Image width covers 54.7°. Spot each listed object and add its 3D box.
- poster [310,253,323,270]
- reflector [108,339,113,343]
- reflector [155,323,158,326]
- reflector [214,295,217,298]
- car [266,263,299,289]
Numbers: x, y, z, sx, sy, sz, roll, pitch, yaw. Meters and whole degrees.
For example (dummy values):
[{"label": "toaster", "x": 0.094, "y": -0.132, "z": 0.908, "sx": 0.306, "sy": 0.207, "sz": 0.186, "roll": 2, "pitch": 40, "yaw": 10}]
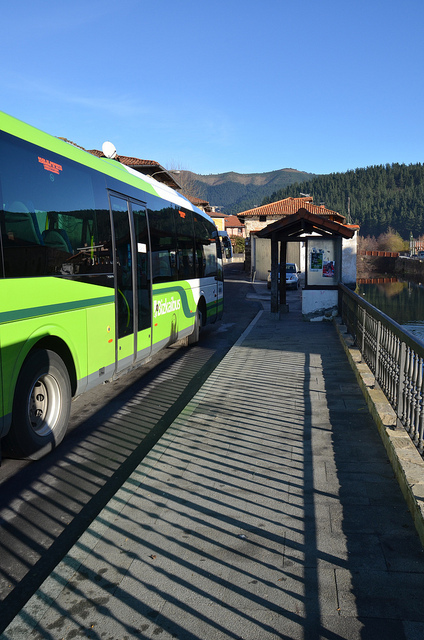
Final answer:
[{"label": "poster", "x": 4.281, "y": -2.373, "z": 16.534, "sx": 0.526, "sy": 0.887, "sz": 0.085, "roll": 0, "pitch": 6, "yaw": 11}, {"label": "reflector", "x": -1.459, "y": 0.310, "z": 5.863, "sx": 0.021, "sy": 0.066, "sz": 0.098, "roll": 9, "pitch": -24, "yaw": -34}, {"label": "reflector", "x": -1.092, "y": 0.105, "z": 8.019, "sx": 0.043, "sy": 0.049, "sz": 0.009, "roll": -21, "pitch": 27, "yaw": -34}, {"label": "reflector", "x": 0.120, "y": -0.784, "z": 13.732, "sx": 0.072, "sy": 0.087, "sz": 0.144, "roll": -2, "pitch": -10, "yaw": -4}, {"label": "car", "x": 6.104, "y": -3.764, "z": 32.897, "sx": 1.814, "sy": 1.979, "sz": 3.960, "roll": 0, "pitch": 2, "yaw": 11}]
